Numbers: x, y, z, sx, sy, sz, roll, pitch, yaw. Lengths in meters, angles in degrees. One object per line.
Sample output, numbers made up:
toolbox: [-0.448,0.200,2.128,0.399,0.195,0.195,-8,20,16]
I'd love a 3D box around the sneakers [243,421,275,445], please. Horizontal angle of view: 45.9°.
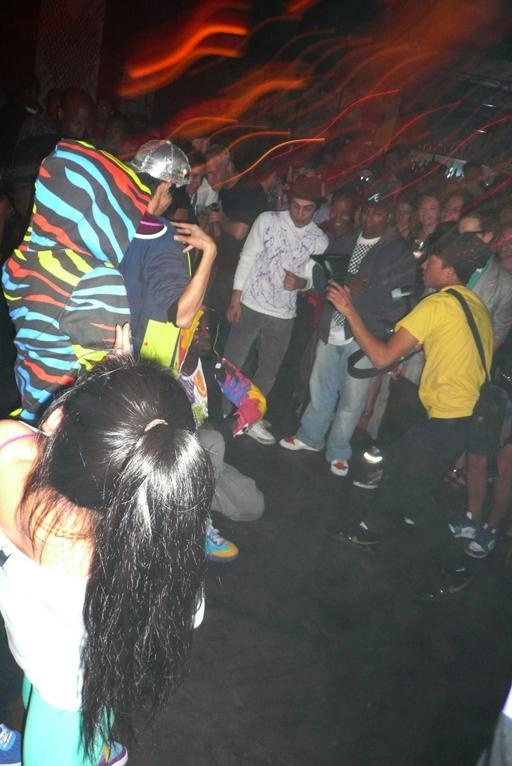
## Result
sneakers: [0.033,0.413,4.835,0.231,0.179,0.116,34,-11,13]

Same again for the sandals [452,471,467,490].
sandals: [1.462,0.706,4.355,0.112,0.134,0.051,2,-16,-11]

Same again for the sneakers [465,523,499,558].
sneakers: [1.424,0.983,3.805,0.138,0.243,0.081,40,-23,8]

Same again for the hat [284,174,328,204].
hat: [0.357,-1.409,4.380,0.238,0.211,0.409,17,17,-1]

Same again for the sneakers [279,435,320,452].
sneakers: [0.323,0.488,4.704,0.304,0.117,0.115,13,12,-3]

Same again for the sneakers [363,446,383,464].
sneakers: [0.856,0.537,4.419,0.107,0.060,0.131,16,44,-12]

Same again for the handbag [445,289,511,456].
handbag: [1.263,-0.055,3.409,0.263,0.883,0.525,-9,9,-17]

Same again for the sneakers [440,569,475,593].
sneakers: [1.136,1.139,3.465,0.203,0.107,0.041,-31,2,-16]

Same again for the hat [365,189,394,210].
hat: [0.822,-1.220,4.046,0.161,0.136,0.126,14,18,-13]

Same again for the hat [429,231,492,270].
hat: [1.071,-0.685,3.161,0.247,0.178,0.212,12,11,39]
